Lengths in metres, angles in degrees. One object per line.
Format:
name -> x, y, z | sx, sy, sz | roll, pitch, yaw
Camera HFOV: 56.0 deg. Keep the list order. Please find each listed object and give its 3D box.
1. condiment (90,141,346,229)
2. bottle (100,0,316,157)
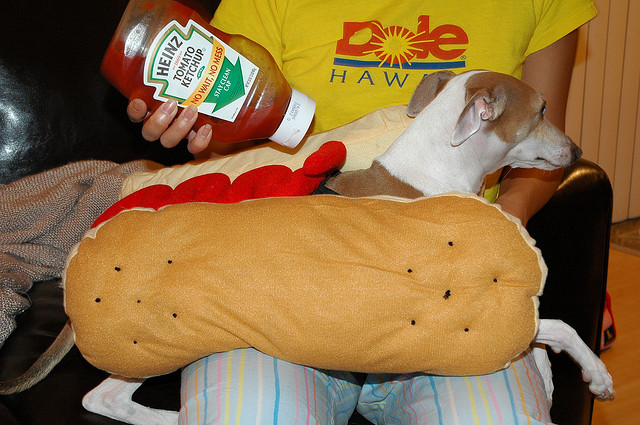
condiment -> -0.285, -0.077, 1.788 | 0.588, 0.179, 0.177 | -7, 70, -4
bottle -> -0.322, -0.373, 1.848 | 0.589, 0.383, 0.244 | 24, 9, -19
